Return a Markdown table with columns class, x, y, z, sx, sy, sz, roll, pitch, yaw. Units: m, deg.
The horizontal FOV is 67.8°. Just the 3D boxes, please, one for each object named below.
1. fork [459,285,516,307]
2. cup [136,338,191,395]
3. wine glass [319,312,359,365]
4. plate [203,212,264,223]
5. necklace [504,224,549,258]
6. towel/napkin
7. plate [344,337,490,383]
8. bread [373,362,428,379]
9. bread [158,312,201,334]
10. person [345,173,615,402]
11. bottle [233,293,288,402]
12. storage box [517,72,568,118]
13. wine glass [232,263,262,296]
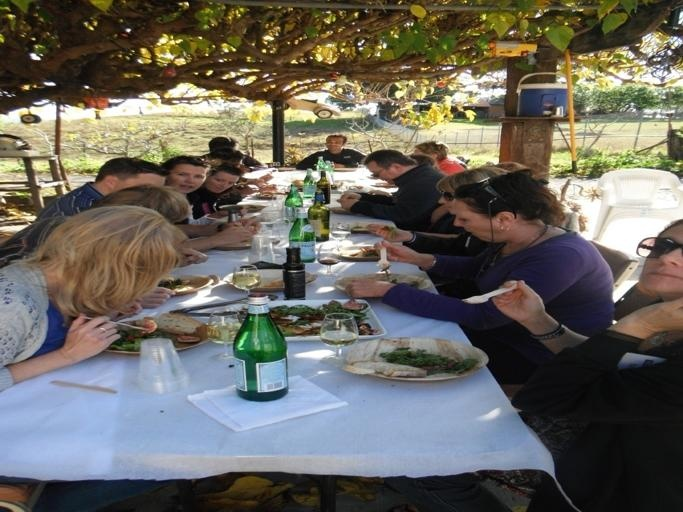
| class | x | y | z | sx | sy | sz | roll | pitch | yaw |
| --- | --- | --- | --- | --- | --- | --- | --- | --- | --- |
| fork | 0.586 | 0.133 | 1.858 | 0.399 | 0.036 | 0.059 | -8 | 9 | -39 |
| cup | -0.529 | 0.325 | 1.539 | 0.250 | 0.131 | 0.190 | 0 | 8 | 1 |
| wine glass | -0.022 | 0.264 | 1.665 | 0.138 | 0.110 | 0.149 | -2 | 12 | -11 |
| plate | -0.923 | -0.315 | 4.056 | 0.372 | 0.035 | 0.265 | 1 | 10 | -3 |
| necklace | 0.875 | -0.071 | 2.387 | 0.211 | 0.036 | 0.129 | -21 | 3 | 2 |
| towel/napkin | -0.231 | 0.399 | 1.566 | 0.519 | 0.068 | 0.397 | -2 | 7 | -30 |
| plate | 0.252 | 0.313 | 1.711 | 0.450 | 0.095 | 0.467 | 3 | 8 | 26 |
| bread | 0.182 | 0.358 | 1.579 | 0.123 | 0.015 | 0.050 | 1 | 4 | 12 |
| bread | -0.607 | 0.250 | 1.897 | 0.119 | 0.023 | 0.092 | 10 | 16 | -5 |
| person | 0.560 | 0.034 | 2.449 | 1.032 | 1.080 | 0.753 | -3 | 7 | -26 |
| bottle | -0.215 | 0.261 | 1.452 | 0.238 | 0.272 | 0.181 | 2 | 17 | 2 |
| storage box | 1.530 | -1.252 | 3.923 | 0.432 | 0.354 | 0.255 | 6 | 17 | 22 |
| wine glass | -0.392 | 0.104 | 2.264 | 0.213 | 0.118 | 0.152 | 1 | 11 | 0 |
